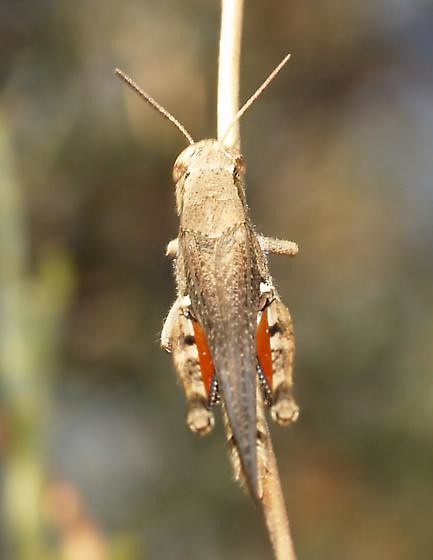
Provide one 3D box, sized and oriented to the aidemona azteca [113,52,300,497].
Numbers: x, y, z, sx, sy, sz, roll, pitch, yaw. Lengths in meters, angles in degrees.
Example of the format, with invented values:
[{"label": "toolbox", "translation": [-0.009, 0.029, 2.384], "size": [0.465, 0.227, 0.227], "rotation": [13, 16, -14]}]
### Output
[{"label": "aidemona azteca", "translation": [-0.018, 0.005, 2.678], "size": [0.540, 0.432, 1.308], "rotation": [-3, 74, -2]}]
